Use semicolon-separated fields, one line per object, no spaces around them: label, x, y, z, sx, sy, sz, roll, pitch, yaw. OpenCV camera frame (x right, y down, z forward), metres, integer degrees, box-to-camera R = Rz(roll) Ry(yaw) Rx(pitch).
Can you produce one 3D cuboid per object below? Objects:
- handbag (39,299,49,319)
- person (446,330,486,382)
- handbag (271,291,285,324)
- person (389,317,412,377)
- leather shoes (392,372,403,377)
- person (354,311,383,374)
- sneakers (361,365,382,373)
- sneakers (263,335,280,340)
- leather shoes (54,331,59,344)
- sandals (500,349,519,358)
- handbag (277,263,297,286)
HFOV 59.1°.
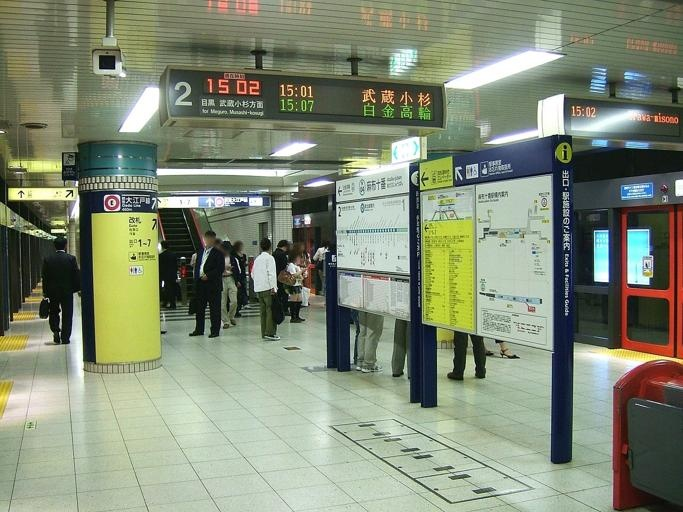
handbag;-5.674;0.987;11.519;0.168;0.353;0.588;-3;3;-27
person;1.674;1.279;7.863;0.512;0.682;0.552;-1;3;3
handbag;-1.137;0.939;10.870;0.208;0.602;0.399;-2;3;-7
person;0.810;1.202;8.105;0.224;0.825;0.623;-1;3;3
leather shoes;0.776;1.585;8.140;0.163;0.069;0.053;-3;6;-18
person;0.417;1.184;8.470;0.292;0.859;0.570;-3;3;-26
sneakers;0.448;1.578;8.484;0.273;0.109;0.098;-1;2;-19
sneakers;-1.282;1.519;11.242;0.299;0.120;0.107;0;3;-7
leather shoes;-5.429;1.557;11.497;0.096;0.266;0.108;2;-4;-24
sandals;2.638;1.496;9.307;0.289;0.113;0.251;-1;3;9
handbag;-1.039;0.335;11.798;0.325;0.439;0.173;27;5;-2
